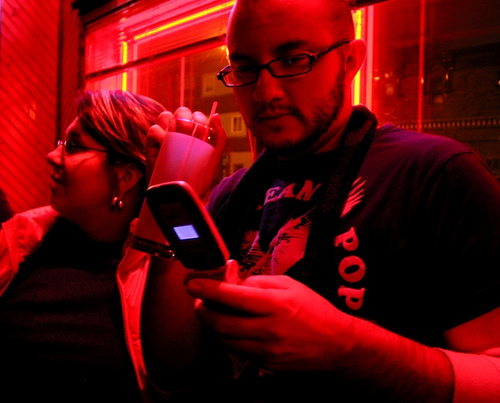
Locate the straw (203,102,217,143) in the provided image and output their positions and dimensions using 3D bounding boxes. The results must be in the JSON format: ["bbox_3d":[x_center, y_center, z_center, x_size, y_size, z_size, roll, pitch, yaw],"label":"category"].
[{"bbox_3d":[-0.125,-0.266,1.431,0.020,0.163,0.019,9,-27,11],"label":"straw"}]

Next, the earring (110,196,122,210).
[{"bbox_3d":[-0.638,0.006,2.081,0.045,0.057,0.021,15,-6,2],"label":"earring"}]
